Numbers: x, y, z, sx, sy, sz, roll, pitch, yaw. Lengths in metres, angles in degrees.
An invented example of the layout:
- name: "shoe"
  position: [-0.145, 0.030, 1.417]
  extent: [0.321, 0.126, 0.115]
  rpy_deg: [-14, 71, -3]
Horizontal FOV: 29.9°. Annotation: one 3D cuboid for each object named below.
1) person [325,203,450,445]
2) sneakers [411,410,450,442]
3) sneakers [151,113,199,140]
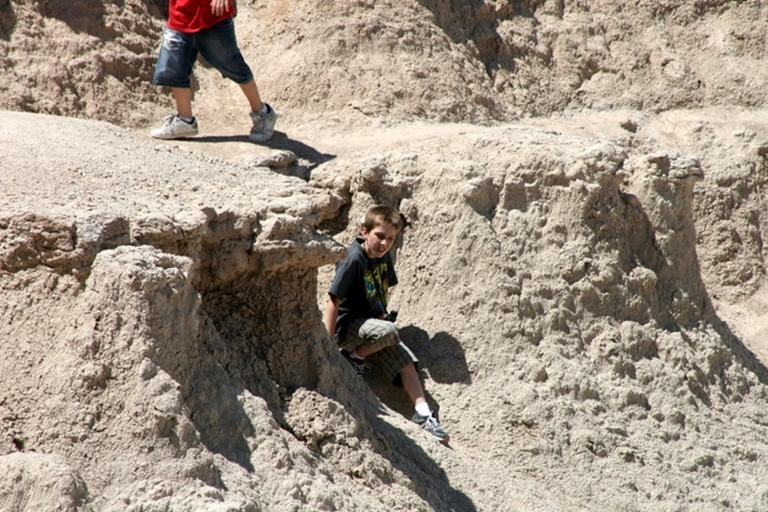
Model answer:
- name: "person"
  position: [0.007, 0.552, 12.943]
  extent: [0.922, 1.809, 0.965]
  rpy_deg: [-1, 28, 17]
- name: "sneakers"
  position: [0.433, 1.500, 12.803]
  extent: [0.400, 0.165, 0.161]
  rpy_deg: [38, 5, 8]
- name: "sneakers"
  position: [-2.008, -1.287, 14.211]
  extent: [0.523, 0.267, 0.202]
  rpy_deg: [-5, 36, -13]
